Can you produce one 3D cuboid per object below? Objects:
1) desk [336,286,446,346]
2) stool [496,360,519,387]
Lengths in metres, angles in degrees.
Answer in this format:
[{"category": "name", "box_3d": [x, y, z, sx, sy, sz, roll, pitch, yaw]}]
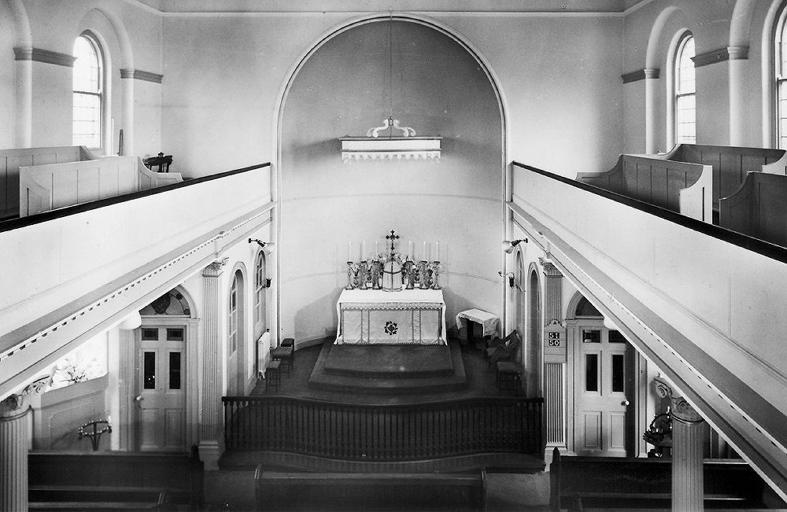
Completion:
[{"category": "desk", "box_3d": [-0.031, 1.879, 19.711, 3.368, 1.446, 1.005, -1, 5, 0]}, {"category": "stool", "box_3d": [2.961, 3.127, 16.913, 0.530, 0.663, 0.993, 1, 5, 3]}]
